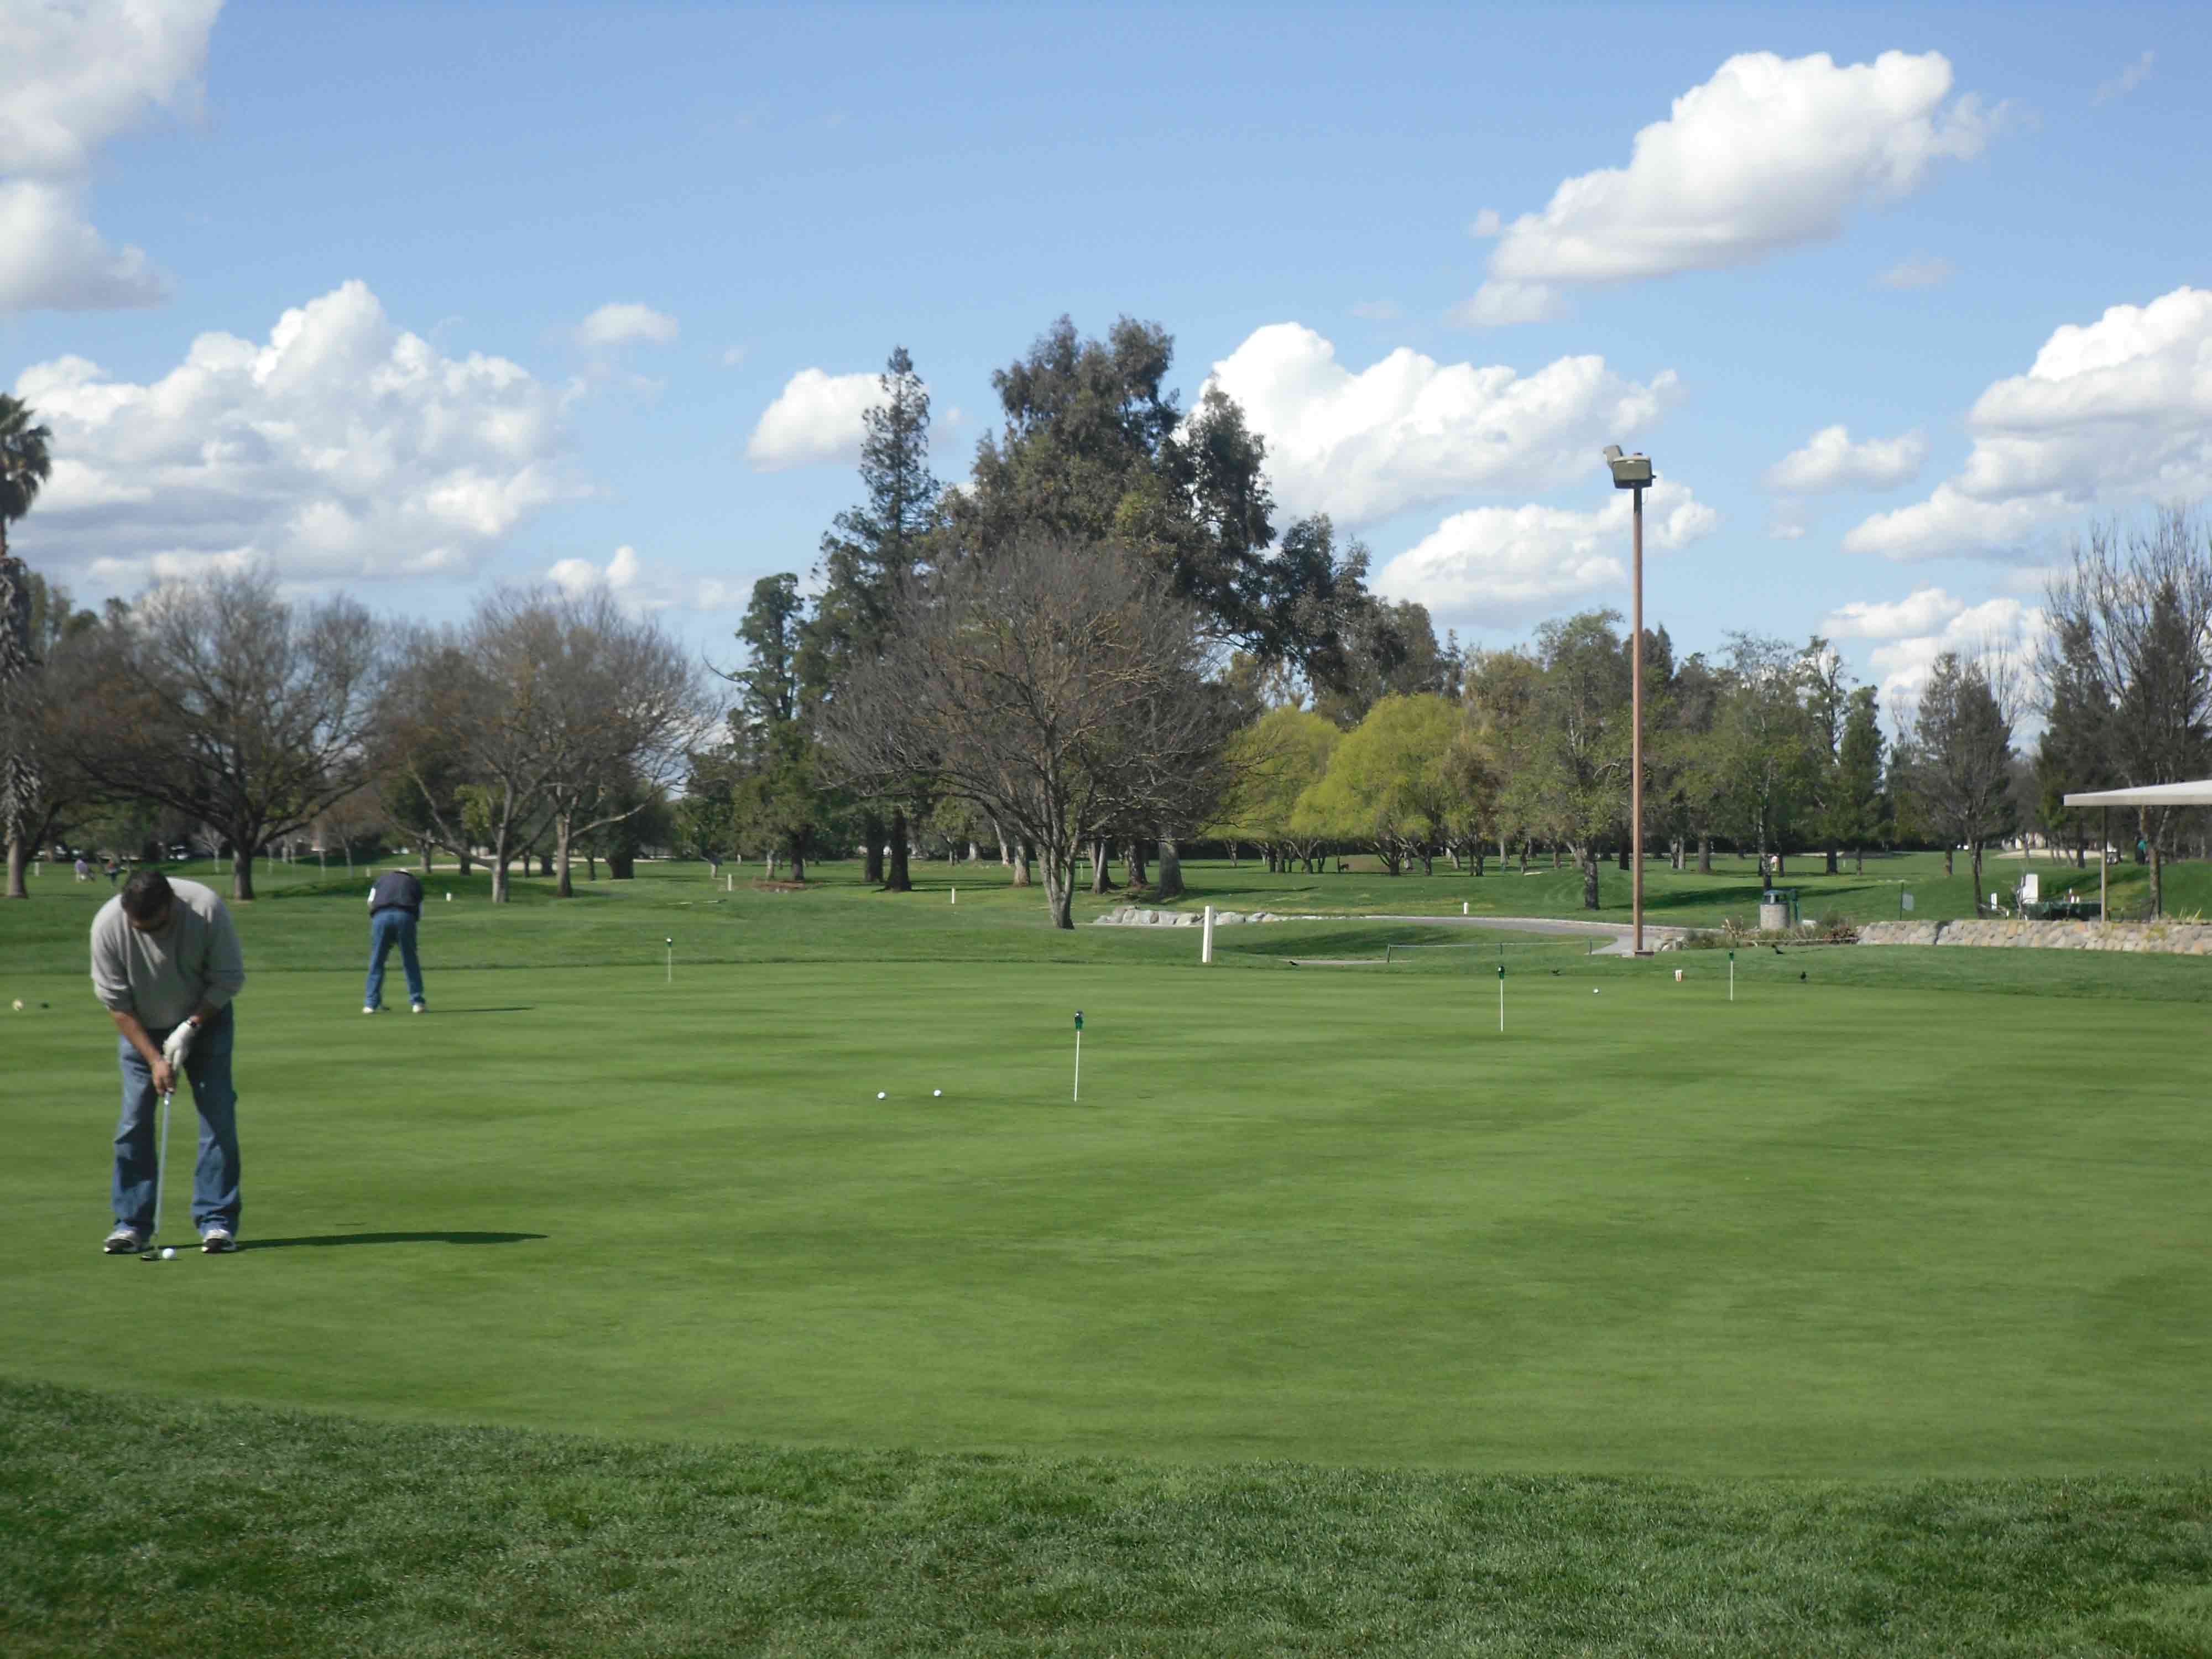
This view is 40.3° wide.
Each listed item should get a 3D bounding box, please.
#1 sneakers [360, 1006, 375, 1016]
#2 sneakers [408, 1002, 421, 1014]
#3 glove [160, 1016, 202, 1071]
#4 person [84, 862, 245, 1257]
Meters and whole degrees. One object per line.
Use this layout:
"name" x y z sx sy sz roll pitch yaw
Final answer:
"sneakers" -8.063 1.951 33.196 0.093 0.103 0.226 1 -6 -17
"sneakers" -7.650 1.948 33.596 0.147 0.123 0.127 0 -2 24
"glove" -5.701 1.295 18.786 0.104 0.329 0.218 29 -27 -30
"person" -5.856 1.441 18.974 0.630 2.398 0.943 -2 -3 40
